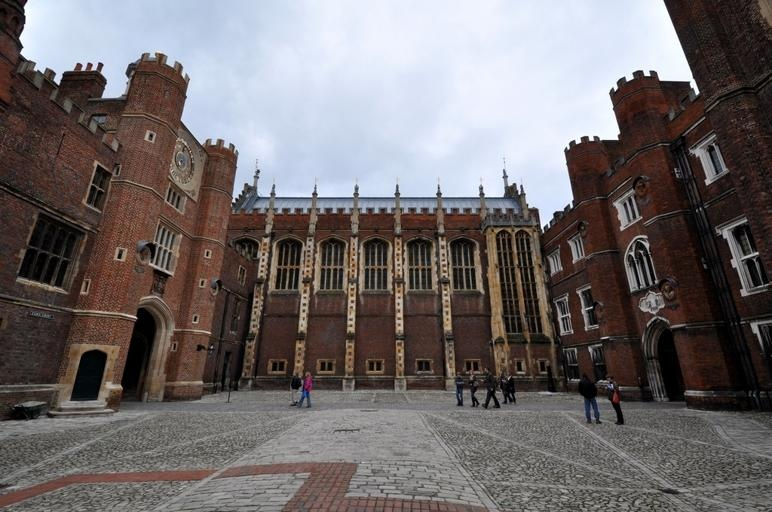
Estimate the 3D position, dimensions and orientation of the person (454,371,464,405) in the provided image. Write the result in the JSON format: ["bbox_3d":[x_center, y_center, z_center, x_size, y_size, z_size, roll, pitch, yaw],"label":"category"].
[{"bbox_3d":[4.477,8.245,23.538,0.402,1.602,1.144,-1,-7,10],"label":"person"}]

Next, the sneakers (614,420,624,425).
[{"bbox_3d":[10.405,7.396,17.046,0.377,0.267,0.135,-2,-40,12],"label":"sneakers"}]
